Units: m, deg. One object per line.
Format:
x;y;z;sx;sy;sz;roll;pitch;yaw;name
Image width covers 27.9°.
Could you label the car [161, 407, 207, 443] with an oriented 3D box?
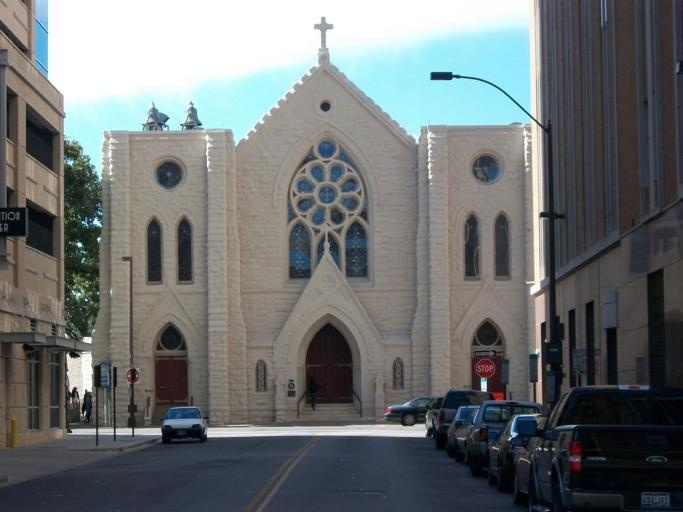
-6.049;6.661;53.737;0.968;0.944;1.970;-1;-18;-2;car
